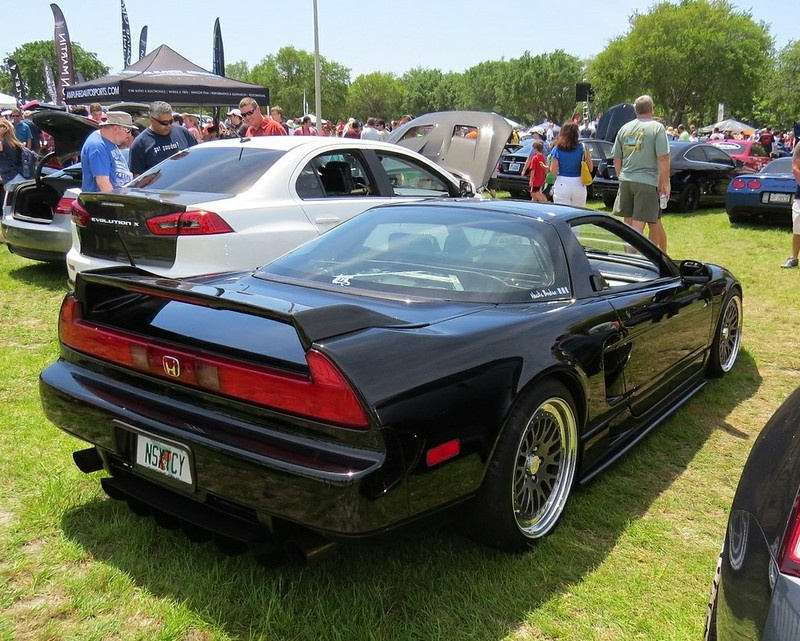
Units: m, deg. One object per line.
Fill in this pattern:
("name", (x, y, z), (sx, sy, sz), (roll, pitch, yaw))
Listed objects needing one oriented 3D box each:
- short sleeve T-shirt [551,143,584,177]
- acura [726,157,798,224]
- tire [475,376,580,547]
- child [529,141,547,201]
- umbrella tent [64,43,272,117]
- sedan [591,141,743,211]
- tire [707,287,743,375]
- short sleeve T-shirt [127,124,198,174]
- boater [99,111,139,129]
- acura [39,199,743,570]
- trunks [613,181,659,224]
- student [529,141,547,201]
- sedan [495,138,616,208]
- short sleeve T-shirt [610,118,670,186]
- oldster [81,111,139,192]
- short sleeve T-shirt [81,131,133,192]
("short sleeve T-shirt", (2.423, -2.366, 9.071), (0.508, 0.457, 0.267), (-6, 24, 30))
("acura", (6.513, -2.218, 11.238), (0.888, 0.608, 1.618), (14, 25, 42))
("tire", (0.536, 0.625, 2.758), (0.248, 0.726, 0.749), (6, 6, 39))
("child", (2.736, -3.024, 12.429), (0.391, 1.115, 1.565), (5, 14, 11))
("umbrella tent", (-6.964, -7.314, 18.557), (4.772, 1.655, 4.668), (16, 23, 40))
("sedan", (5.879, -3.242, 13.519), (3.762, 1.117, 1.575), (-15, 18, -36))
("tire", (2.389, 0.062, 4.657), (0.117, 0.595, 0.567), (13, 24, 42))
("short sleeve T-shirt", (-2.715, -1.982, 7.441), (0.873, 0.672, 0.376), (-13, 24, -9))
("boater", (-2.907, -2.107, 6.567), (0.398, 0.139, 0.345), (-9, 23, -32))
("acura", (0.433, -0.047, 3.050), (1.558, 0.884, 3.135), (16, 24, 41))
("trunks", (3.090, -1.641, 8.254), (0.352, 0.536, 0.621), (-16, 25, -32))
("student", (2.731, -3.019, 12.406), (0.391, 1.115, 1.518), (5, 14, 11))
("sedan", (3.730, -3.404, 14.179), (3.121, 0.916, 1.314), (-13, 17, -32))
("short sleeve T-shirt", (3.087, -2.218, 8.138), (0.375, 0.764, 0.792), (-14, 17, -39))
("oldster", (-3.051, -1.754, 6.593), (0.513, 0.936, 0.664), (14, 29, -13))
("short sleeve T-shirt", (-3.115, -1.677, 6.614), (0.437, 0.652, 0.697), (4, 27, -21))
